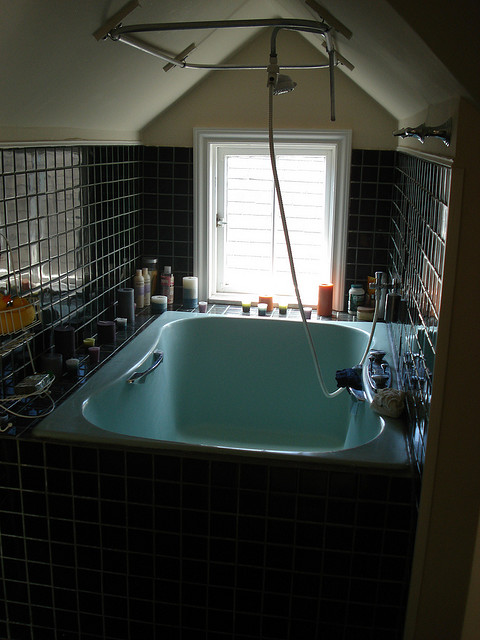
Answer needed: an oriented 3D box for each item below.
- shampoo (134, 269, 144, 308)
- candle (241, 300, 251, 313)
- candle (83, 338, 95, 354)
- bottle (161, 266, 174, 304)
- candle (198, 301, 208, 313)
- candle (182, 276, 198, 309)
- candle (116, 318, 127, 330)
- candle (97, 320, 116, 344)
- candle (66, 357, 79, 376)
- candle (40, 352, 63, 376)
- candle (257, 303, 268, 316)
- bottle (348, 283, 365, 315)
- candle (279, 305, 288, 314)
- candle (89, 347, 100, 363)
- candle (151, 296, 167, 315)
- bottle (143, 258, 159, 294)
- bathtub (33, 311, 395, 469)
[{"bbox_3d":[-0.624,-0.200,3.045,0.059,0.223,0.078,-1,11,-13],"label":"shampoo"},{"bbox_3d":[0.040,-0.090,3.020,0.054,0.072,0.057,8,12,32],"label":"candle"},{"bbox_3d":[-0.698,0.112,2.267,0.057,0.069,0.060,-3,14,-32],"label":"candle"},{"bbox_3d":[-0.475,-0.240,3.227,0.083,0.238,0.217,0,11,-8],"label":"bottle"},{"bbox_3d":[-0.226,-0.086,3.063,0.049,0.068,0.055,-4,9,-39],"label":"candle"},{"bbox_3d":[-0.319,-0.181,3.137,0.088,0.187,0.111,0,11,-10],"label":"candle"},{"bbox_3d":[-0.631,0.015,2.620,0.046,0.045,0.054,10,18,30],"label":"candle"},{"bbox_3d":[-0.648,0.057,2.379,0.080,0.107,0.095,2,13,-8],"label":"candle"},{"bbox_3d":[-0.672,0.185,1.978,0.046,0.065,0.055,3,13,-8],"label":"candle"},{"bbox_3d":[-0.742,0.166,1.935,0.070,0.093,0.074,-8,23,-31],"label":"candle"},{"bbox_3d":[0.141,-0.070,2.988,0.054,0.072,0.060,4,9,18],"label":"candle"},{"bbox_3d":[0.709,-0.141,3.082,0.089,0.183,0.153,-5,13,-33],"label":"bottle"},{"bbox_3d":[0.267,-0.069,3.031,0.048,0.058,0.043,-17,25,-40],"label":"candle"},{"bbox_3d":[-0.628,0.146,2.113,0.048,0.063,0.051,10,12,29],"label":"candle"},{"bbox_3d":[-0.490,-0.106,2.969,0.086,0.117,0.095,-3,14,-15],"label":"candle"},{"bbox_3d":[-0.571,-0.299,3.263,0.079,0.246,0.167,5,11,20],"label":"bottle"},{"bbox_3d":[0.045,0.298,2.494,0.844,0.344,0.850,3,15,9],"label":"bathtub"}]
